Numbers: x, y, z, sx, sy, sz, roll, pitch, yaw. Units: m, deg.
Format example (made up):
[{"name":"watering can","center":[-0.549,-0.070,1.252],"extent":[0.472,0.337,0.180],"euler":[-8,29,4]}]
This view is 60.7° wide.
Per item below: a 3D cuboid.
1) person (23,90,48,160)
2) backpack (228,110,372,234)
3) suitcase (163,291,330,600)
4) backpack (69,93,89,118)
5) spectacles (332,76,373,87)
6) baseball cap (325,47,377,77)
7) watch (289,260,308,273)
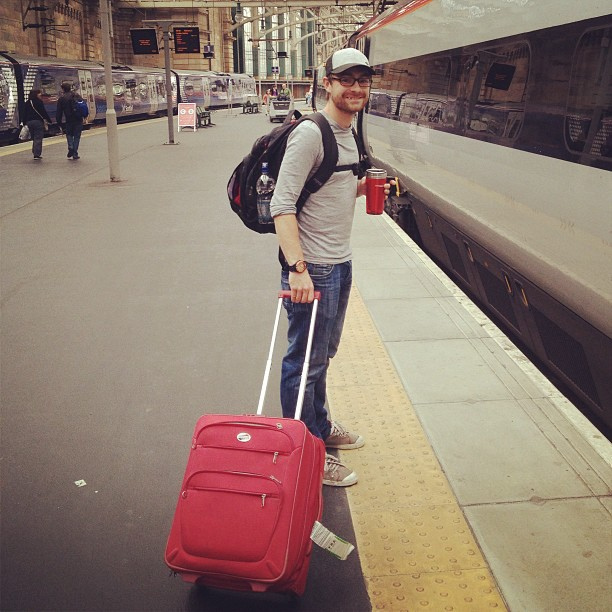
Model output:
[{"name":"person","center":[-7.257,-4.869,14.095],"extent":[0.615,1.724,0.928],"euler":[-10,25,-24]},{"name":"backpack","center":[-0.123,-0.579,2.294],"extent":[0.344,0.383,0.439],"euler":[-8,9,-36]},{"name":"suitcase","center":[-0.179,0.505,2.016],"extent":[0.524,1.010,1.243],"euler":[2,22,3]},{"name":"backpack","center":[-6.281,-5.493,14.413],"extent":[0.434,0.616,0.601],"euler":[-8,24,-21]},{"name":"spectacles","center":[0.211,-0.890,2.091],"extent":[0.201,0.037,0.104],"euler":[-19,29,-41]},{"name":"baseball cap","center":[0.164,-0.965,2.101],"extent":[0.160,0.116,0.216],"euler":[-3,23,-16]},{"name":"watch","center":[-0.028,-0.151,2.019],"extent":[0.063,0.037,0.061],"euler":[-18,14,-19]}]
